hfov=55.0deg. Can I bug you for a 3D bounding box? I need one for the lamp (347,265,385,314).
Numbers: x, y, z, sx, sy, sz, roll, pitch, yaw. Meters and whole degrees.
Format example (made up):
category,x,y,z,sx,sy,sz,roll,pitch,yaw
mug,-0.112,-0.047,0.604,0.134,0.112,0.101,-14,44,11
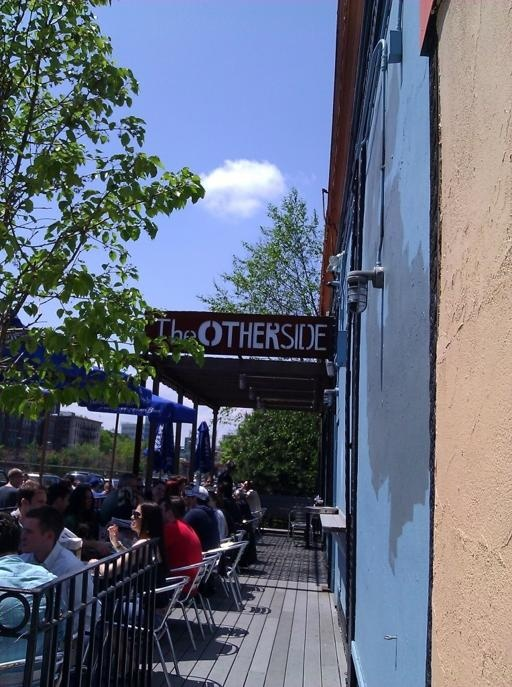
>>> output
category,x,y,z,sx,sy,sz,roll,pitch,yaw
lamp,0.626,-0.303,2.878,0.194,0.250,0.458,3,-15,8
